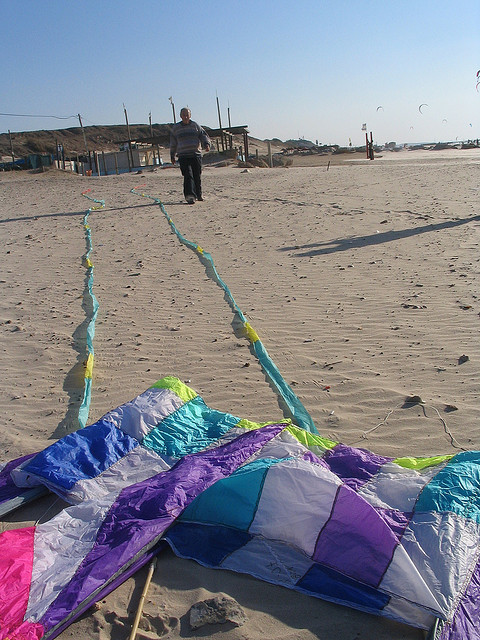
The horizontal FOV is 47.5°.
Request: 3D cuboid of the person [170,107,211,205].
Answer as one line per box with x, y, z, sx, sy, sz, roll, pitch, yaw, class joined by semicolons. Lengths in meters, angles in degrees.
-1.212;-4.007;13.204;1.212;2.189;0.910;14;24;40;person
